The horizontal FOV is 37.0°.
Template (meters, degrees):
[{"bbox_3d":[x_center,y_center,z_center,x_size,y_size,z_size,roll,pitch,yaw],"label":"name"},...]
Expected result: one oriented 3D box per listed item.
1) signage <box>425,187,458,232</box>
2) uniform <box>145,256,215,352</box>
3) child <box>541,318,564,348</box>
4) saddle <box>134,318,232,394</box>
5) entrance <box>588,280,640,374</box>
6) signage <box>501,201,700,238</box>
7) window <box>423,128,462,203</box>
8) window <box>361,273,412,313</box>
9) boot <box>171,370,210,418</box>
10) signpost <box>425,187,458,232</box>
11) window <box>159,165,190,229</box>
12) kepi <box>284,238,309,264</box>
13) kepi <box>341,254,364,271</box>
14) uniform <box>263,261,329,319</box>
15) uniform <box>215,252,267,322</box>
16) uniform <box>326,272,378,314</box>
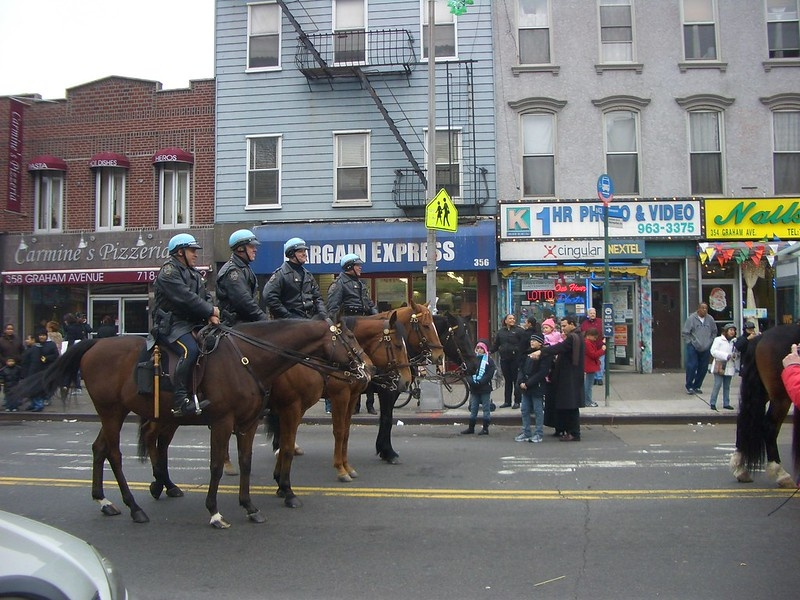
[{"bbox_3d":[1.022,-2.199,29.509,0.574,1.056,0.907,8,15,32],"label":"signage"},{"bbox_3d":[-4.013,-0.014,22.173,1.376,1.736,1.338,0,-1,13],"label":"uniform"},{"bbox_3d":[3.657,0.798,28.702,0.501,0.583,0.561,-21,-32,39],"label":"child"},{"bbox_3d":[-4.181,1.093,21.321,2.117,1.235,0.705,-1,-1,7],"label":"saddle"},{"bbox_3d":[6.282,0.631,33.785,1.020,2.387,0.140,4,9,34],"label":"entrance"},{"bbox_3d":[5.663,-2.281,33.351,5.506,1.045,0.443,0,13,2],"label":"signage"},{"bbox_3d":[1.239,-3.974,34.222,0.952,1.981,0.124,-4,-5,-34],"label":"window"},{"bbox_3d":[-0.327,-0.240,31.701,1.042,1.249,0.056,1,16,1],"label":"window"},{"bbox_3d":[-3.781,1.712,21.110,0.871,0.978,0.436,0,-2,-2],"label":"boot"},{"bbox_3d":[1.022,-2.199,29.509,0.574,1.056,0.907,8,15,32],"label":"signpost"},{"bbox_3d":[-6.685,-3.121,35.444,0.964,1.776,0.589,-2,12,-5],"label":"window"},{"bbox_3d":[-2.090,-1.020,23.958,0.549,0.572,0.435,-7,9,-4],"label":"kepi"},{"bbox_3d":[-1.042,-0.820,24.886,0.504,0.412,0.423,-1,0,11],"label":"kepi"},{"bbox_3d":[-2.092,-0.120,23.927,1.402,1.173,0.771,3,-6,-41],"label":"uniform"},{"bbox_3d":[-2.996,-0.154,22.921,0.917,1.430,1.032,3,6,3],"label":"uniform"},{"bbox_3d":[-0.971,-0.033,25.046,1.219,1.132,0.616,-1,-5,-45],"label":"uniform"}]
